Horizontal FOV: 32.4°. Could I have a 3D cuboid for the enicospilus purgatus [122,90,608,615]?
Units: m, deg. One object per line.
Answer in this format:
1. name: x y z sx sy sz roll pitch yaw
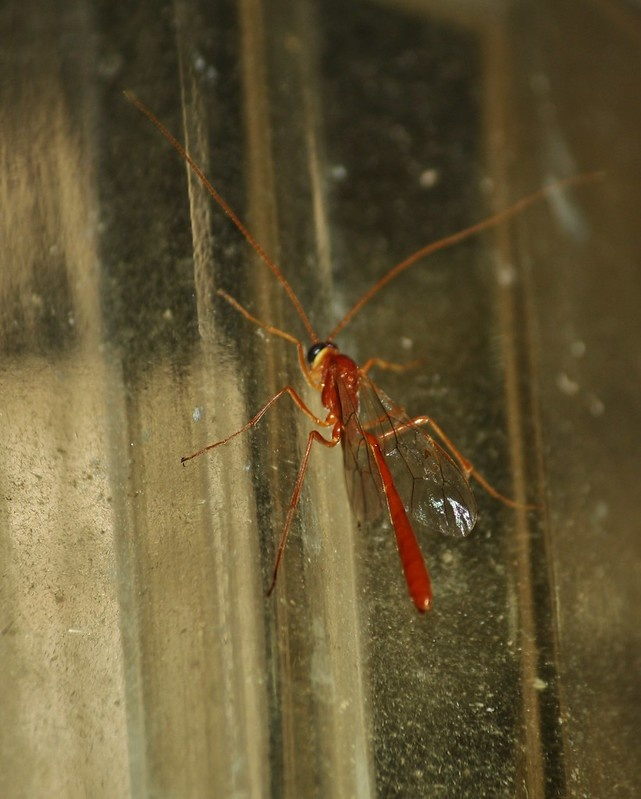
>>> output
1. enicospilus purgatus: 0.037 -0.055 1.338 0.414 0.354 0.250 18 93 -33
